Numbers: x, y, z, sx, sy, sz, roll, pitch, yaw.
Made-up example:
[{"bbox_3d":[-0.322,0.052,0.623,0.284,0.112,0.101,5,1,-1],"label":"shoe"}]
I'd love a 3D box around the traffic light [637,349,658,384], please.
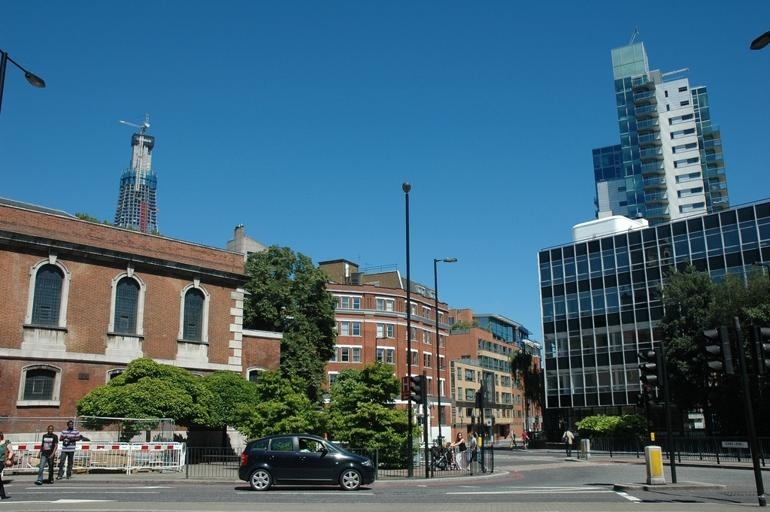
[{"bbox_3d":[12.957,5.339,38.178,0.907,1.663,0.619,-9,-21,18],"label":"traffic light"}]

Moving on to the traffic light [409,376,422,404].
[{"bbox_3d":[1.704,7.290,43.035,0.766,1.295,1.044,-3,-19,1],"label":"traffic light"}]

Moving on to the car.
[{"bbox_3d":[-3.898,10.491,39.547,6.285,2.204,2.838,-1,-16,-2],"label":"car"}]
